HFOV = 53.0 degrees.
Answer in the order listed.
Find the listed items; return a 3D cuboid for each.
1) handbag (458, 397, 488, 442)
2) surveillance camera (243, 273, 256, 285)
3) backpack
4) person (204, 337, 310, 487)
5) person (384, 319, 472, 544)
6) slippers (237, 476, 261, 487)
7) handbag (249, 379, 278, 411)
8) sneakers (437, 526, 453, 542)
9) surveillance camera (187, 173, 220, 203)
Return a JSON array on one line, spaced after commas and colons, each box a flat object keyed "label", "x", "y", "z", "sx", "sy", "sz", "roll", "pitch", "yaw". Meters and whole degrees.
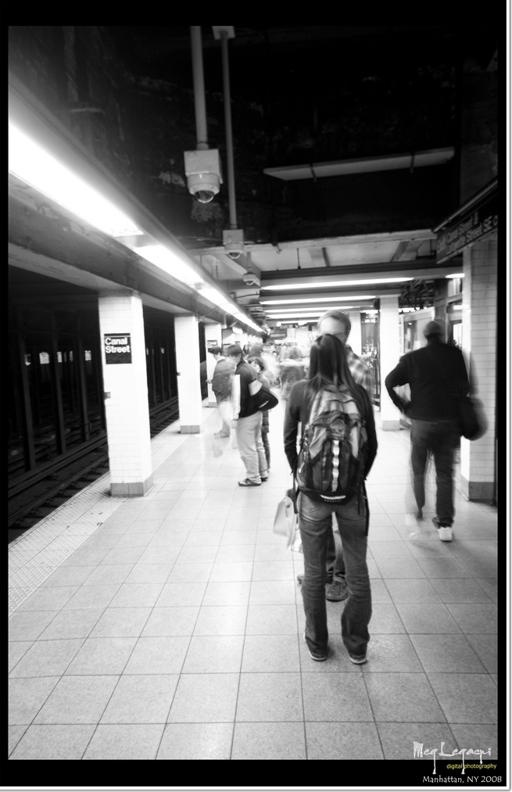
[{"label": "handbag", "x": 1.761, "y": 0.173, "z": 4.175, "sx": 0.171, "sy": 0.384, "sz": 0.648, "roll": 0, "pitch": 5, "yaw": 27}, {"label": "surveillance camera", "x": -0.097, "y": -1.461, "z": 6.234, "sx": 0.127, "sy": 0.179, "sz": 0.145, "roll": -1, "pitch": -7, "yaw": 14}, {"label": "backpack", "x": 0.345, "y": 0.228, "z": 2.366, "sx": 0.318, "sy": 0.525, "sz": 0.227, "roll": -1, "pitch": 4, "yaw": 14}, {"label": "person", "x": 0.128, "y": 0.209, "z": 6.687, "sx": 1.094, "sy": 2.698, "sz": 0.865, "roll": 2, "pitch": 4, "yaw": 11}, {"label": "person", "x": 1.384, "y": 0.259, "z": 4.110, "sx": 0.601, "sy": 1.687, "sz": 0.411, "roll": 1, "pitch": 4, "yaw": 36}, {"label": "slippers", "x": -0.085, "y": 0.975, "z": 6.001, "sx": 0.237, "sy": 0.143, "sz": 0.114, "roll": 3, "pitch": 2, "yaw": 11}, {"label": "handbag", "x": 0.105, "y": 0.002, "z": 5.820, "sx": 0.236, "sy": 0.377, "sz": 0.435, "roll": 0, "pitch": 5, "yaw": 24}, {"label": "sneakers", "x": 1.466, "y": 1.059, "z": 3.987, "sx": 0.120, "sy": 0.106, "sz": 0.230, "roll": -1, "pitch": 5, "yaw": 23}, {"label": "surveillance camera", "x": -0.308, "y": -1.256, "z": 3.110, "sx": 0.174, "sy": 0.132, "sz": 0.192, "roll": -2, "pitch": 4, "yaw": 6}]
